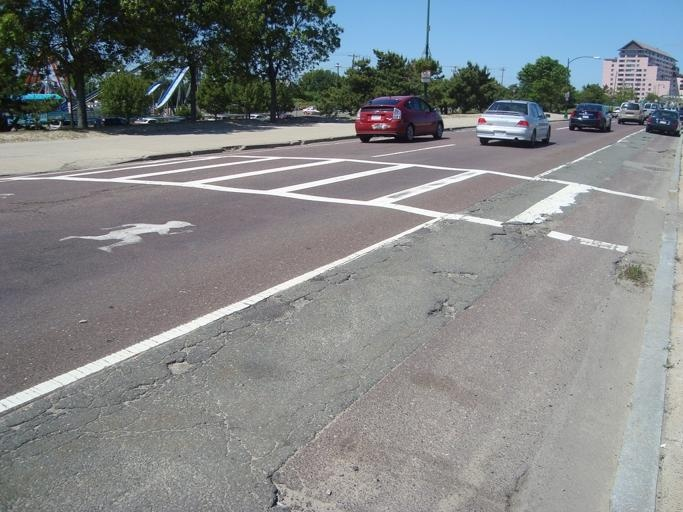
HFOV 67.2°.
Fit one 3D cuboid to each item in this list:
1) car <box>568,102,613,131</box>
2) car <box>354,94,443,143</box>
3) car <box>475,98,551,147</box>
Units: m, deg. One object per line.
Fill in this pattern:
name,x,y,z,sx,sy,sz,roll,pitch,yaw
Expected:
car,17.949,-9.979,36.988,2.058,1.874,3.639,16,24,40
car,2.785,-6.366,23.747,4.202,1.967,1.803,-16,23,-39
car,7.777,-6.028,23.178,2.132,1.987,3.327,14,23,38
